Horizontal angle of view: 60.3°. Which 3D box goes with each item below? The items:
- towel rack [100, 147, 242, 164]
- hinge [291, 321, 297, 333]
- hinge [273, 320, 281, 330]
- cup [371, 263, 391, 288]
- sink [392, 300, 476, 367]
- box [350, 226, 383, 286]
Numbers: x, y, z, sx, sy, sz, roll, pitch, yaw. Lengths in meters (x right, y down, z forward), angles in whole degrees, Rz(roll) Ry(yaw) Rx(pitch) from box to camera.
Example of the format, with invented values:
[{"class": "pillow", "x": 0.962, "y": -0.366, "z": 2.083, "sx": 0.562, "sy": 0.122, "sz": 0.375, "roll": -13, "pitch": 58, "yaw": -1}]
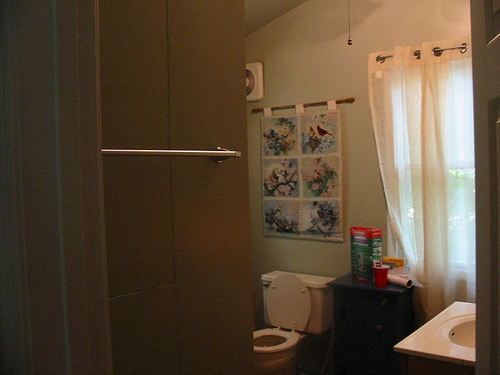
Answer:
[{"class": "towel rack", "x": -0.206, "y": -0.096, "z": 1.335, "sx": 0.517, "sy": 0.052, "sz": 0.104, "roll": -4, "pitch": 3, "yaw": -37}, {"class": "hinge", "x": 0.305, "y": 0.953, "z": 2.951, "sx": 0.047, "sy": 0.056, "sz": 0.045, "roll": 6, "pitch": -6, "yaw": -40}, {"class": "hinge", "x": 0.190, "y": 0.977, "z": 3.061, "sx": 0.061, "sy": 0.066, "sz": 0.048, "roll": 2, "pitch": -5, "yaw": -8}, {"class": "cup", "x": 0.783, "y": 0.524, "z": 2.571, "sx": 0.108, "sy": 0.129, "sz": 0.110, "roll": -2, "pitch": -2, "yaw": 0}, {"class": "sink", "x": 0.790, "y": 0.628, "z": 1.850, "sx": 0.326, "sy": 0.134, "sz": 0.536, "roll": 1, "pitch": 5, "yaw": 21}, {"class": "box", "x": 0.741, "y": 0.423, "z": 2.743, "sx": 0.114, "sy": 0.338, "sz": 0.181, "roll": -1, "pitch": 0, "yaw": -38}]
